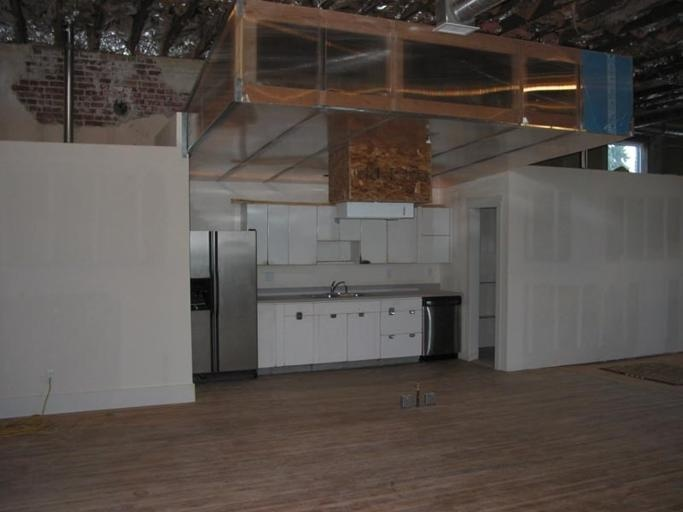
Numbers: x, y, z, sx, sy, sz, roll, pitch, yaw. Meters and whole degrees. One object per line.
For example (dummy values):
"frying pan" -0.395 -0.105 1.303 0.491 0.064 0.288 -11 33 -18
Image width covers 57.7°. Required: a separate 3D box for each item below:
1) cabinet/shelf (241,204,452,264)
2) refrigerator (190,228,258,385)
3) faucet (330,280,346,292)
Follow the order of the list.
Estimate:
"cabinet/shelf" 0.123 -0.347 9.752 3.269 0.991 0.430 -2 8 -16
"refrigerator" -1.637 0.624 8.589 0.898 1.924 0.303 -2 8 -12
"faucet" -0.041 0.491 9.879 0.294 0.194 0.281 -1 8 -10
